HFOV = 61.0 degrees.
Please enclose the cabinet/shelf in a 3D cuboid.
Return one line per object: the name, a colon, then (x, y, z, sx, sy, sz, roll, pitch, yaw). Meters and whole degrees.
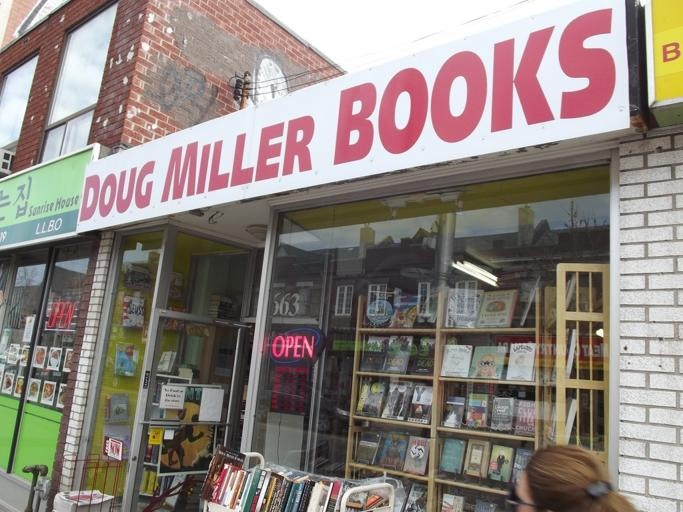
cabinet/shelf: (0.963, 0.951, 4.078, 1.584, 1.435, 0.567, -6, -19, 30)
